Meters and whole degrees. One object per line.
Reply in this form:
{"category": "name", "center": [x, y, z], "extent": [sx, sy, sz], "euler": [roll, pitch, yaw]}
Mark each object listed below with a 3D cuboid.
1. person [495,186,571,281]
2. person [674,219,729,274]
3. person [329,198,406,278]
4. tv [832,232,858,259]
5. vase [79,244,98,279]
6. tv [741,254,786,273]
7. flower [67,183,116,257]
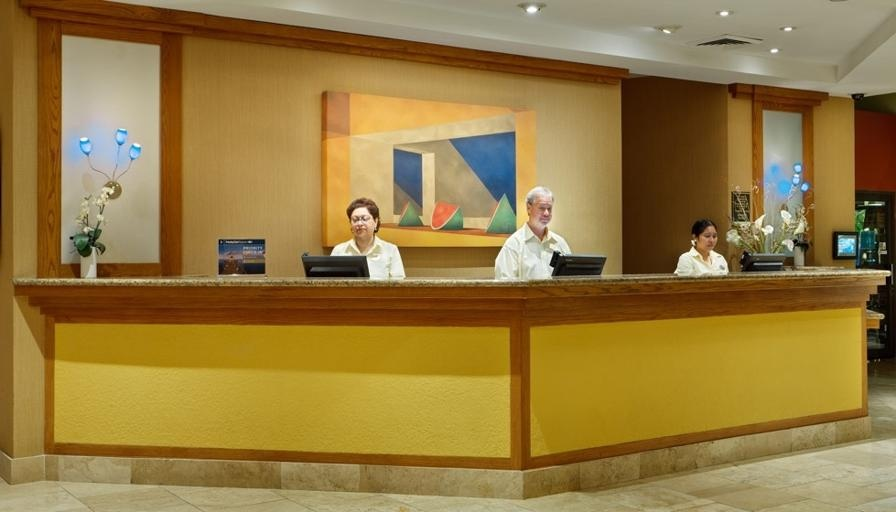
{"category": "person", "center": [0.953, -0.261, 7.622], "extent": [0.835, 0.987, 0.617], "euler": [-1, 3, 0]}
{"category": "person", "center": [3.205, -0.086, 8.619], "extent": [0.799, 0.734, 0.522], "euler": [1, -2, -32]}
{"category": "person", "center": [-0.942, -0.213, 7.749], "extent": [0.980, 0.992, 0.531], "euler": [-1, -11, 0]}
{"category": "tv", "center": [6.598, -0.183, 11.375], "extent": [0.476, 0.489, 0.085], "euler": [-2, 3, -17]}
{"category": "vase", "center": [-3.850, 0.062, 7.383], "extent": [0.186, 0.316, 0.393], "euler": [-3, 3, -26]}
{"category": "tv", "center": [3.651, 0.073, 7.968], "extent": [0.636, 0.206, 0.241], "euler": [-2, 3, -20]}
{"category": "flower", "center": [-3.828, -0.419, 7.467], "extent": [0.530, 0.824, 0.338], "euler": [-2, 3, -25]}
